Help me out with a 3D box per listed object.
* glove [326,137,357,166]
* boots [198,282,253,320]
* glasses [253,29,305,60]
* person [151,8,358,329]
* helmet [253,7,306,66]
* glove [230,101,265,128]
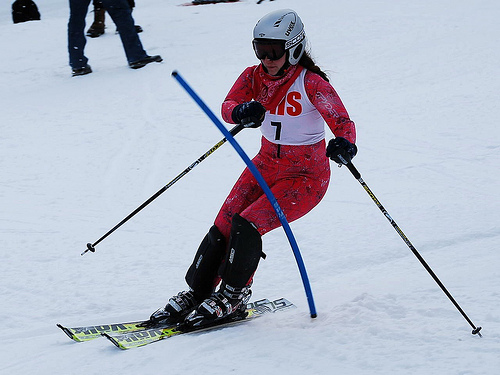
[{"bbox_3d":[0.665,-0.261,4.539,0.244,0.095,0.197,13,52,-7],"label":"glove"},{"bbox_3d":[-0.204,0.881,4.857,0.405,0.127,0.250,-18,-17,-40],"label":"boots"},{"bbox_3d":[0.222,-1.065,4.750,0.247,0.154,0.306,8,4,37],"label":"glasses"},{"bbox_3d":[0.011,-0.160,4.849,1.612,2.235,0.880,-14,23,-7],"label":"person"},{"bbox_3d":[0.244,-1.161,4.730,0.394,0.332,0.515,14,17,41],"label":"helmet"},{"bbox_3d":[0.008,-0.541,4.691,0.271,0.110,0.170,8,47,19],"label":"glove"}]
